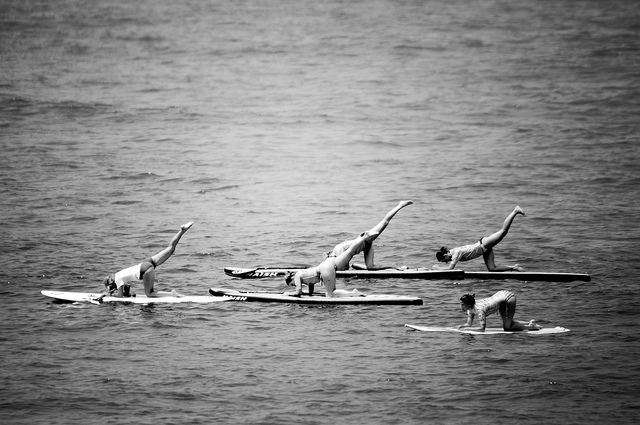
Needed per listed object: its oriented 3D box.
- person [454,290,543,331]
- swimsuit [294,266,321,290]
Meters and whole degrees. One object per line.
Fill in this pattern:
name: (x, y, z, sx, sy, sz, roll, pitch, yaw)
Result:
person: (5.562, 3.185, 49.889, 3.271, 1.063, 0.954, 4, 2, -20)
swimsuit: (-0.463, 2.144, 51.208, 0.965, 0.297, 0.622, -9, 17, 22)
